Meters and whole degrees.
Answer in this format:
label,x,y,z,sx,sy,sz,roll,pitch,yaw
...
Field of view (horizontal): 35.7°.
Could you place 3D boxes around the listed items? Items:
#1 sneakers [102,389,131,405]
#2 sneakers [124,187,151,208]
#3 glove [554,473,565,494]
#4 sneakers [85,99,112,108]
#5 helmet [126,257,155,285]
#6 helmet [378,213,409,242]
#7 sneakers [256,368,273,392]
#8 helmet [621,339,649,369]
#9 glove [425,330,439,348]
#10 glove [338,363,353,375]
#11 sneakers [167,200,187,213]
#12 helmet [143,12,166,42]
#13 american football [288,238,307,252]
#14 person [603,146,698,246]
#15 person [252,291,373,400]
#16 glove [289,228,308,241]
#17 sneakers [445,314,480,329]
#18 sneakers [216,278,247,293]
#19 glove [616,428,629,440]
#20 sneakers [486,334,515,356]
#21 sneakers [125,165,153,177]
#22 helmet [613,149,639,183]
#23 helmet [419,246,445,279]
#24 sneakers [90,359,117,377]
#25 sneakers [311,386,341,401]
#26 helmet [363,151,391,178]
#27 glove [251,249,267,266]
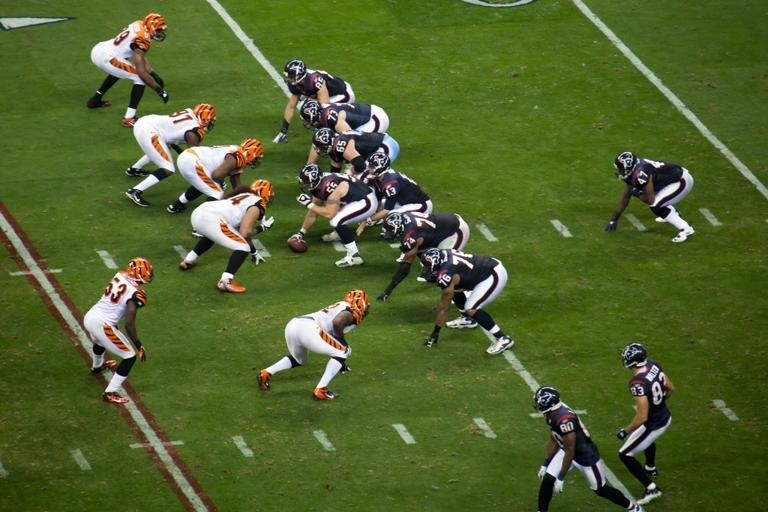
label,x,y,z,sx,sy,sz,roll,pitch,yaw
sneakers,-3.904,2.041,17.379,0.403,0.131,0.162,2,17,-2
sneakers,-4.365,-1.053,20.951,0.576,0.256,0.190,26,31,-16
glove,2.336,3.014,15.964,0.142,0.233,0.256,2,93,-4
sneakers,-5.578,-2.988,23.162,0.483,0.159,0.134,-5,49,-28
helmet,-3.527,0.179,17.619,0.523,0.315,0.378,-4,25,-31
helmet,0.170,-0.507,19.052,0.386,0.463,0.435,3,55,0
sneakers,-1.750,1.802,17.667,0.209,0.345,0.174,-24,41,-11
helmet,3.506,1.325,16.624,0.374,0.288,0.422,-15,19,-16
glove,0.728,1.258,18.523,0.283,0.096,0.190,-34,26,10
glove,-0.576,1.652,17.718,0.218,0.054,0.214,7,8,-7
sneakers,-3.654,-0.885,20.931,0.433,0.199,0.122,-11,83,-46
helmet,-4.364,-4.345,22.702,0.391,0.507,0.325,-11,58,-9
american football,-1.477,-0.217,20.352,0.292,0.146,0.308,8,2,-18
person,4.647,-1.056,20.814,1.897,1.282,1.027,-5,20,-5
person,-0.988,1.246,17.652,1.975,1.267,0.940,-4,5,-25
glove,-1.455,-0.378,20.464,0.126,0.258,0.149,10,59,-31
sneakers,1.252,1.029,18.987,0.631,0.190,0.184,2,11,1
sneakers,-2.486,0.456,19.333,0.476,0.142,0.206,1,23,-11
glove,3.298,2.422,16.410,0.249,0.112,0.081,35,26,-38
sneakers,1.792,1.356,18.516,0.584,0.255,0.161,-22,70,13
sneakers,-4.504,-1.554,21.524,0.546,0.202,0.136,-3,66,-27
helmet,4.136,-1.545,20.486,0.369,0.481,0.471,14,56,7
helmet,0.717,0.098,18.305,0.356,0.466,0.409,3,55,0
sneakers,-4.170,1.635,17.857,0.466,0.176,0.131,-19,88,-25
sneakers,-0.878,1.995,17.565,0.483,0.161,0.143,-1,40,-21
helmet,-0.085,-1.602,20.200,0.555,0.395,0.351,-8,40,12
glove,-2.131,0.000,20.116,0.204,0.195,0.335,9,3,25
